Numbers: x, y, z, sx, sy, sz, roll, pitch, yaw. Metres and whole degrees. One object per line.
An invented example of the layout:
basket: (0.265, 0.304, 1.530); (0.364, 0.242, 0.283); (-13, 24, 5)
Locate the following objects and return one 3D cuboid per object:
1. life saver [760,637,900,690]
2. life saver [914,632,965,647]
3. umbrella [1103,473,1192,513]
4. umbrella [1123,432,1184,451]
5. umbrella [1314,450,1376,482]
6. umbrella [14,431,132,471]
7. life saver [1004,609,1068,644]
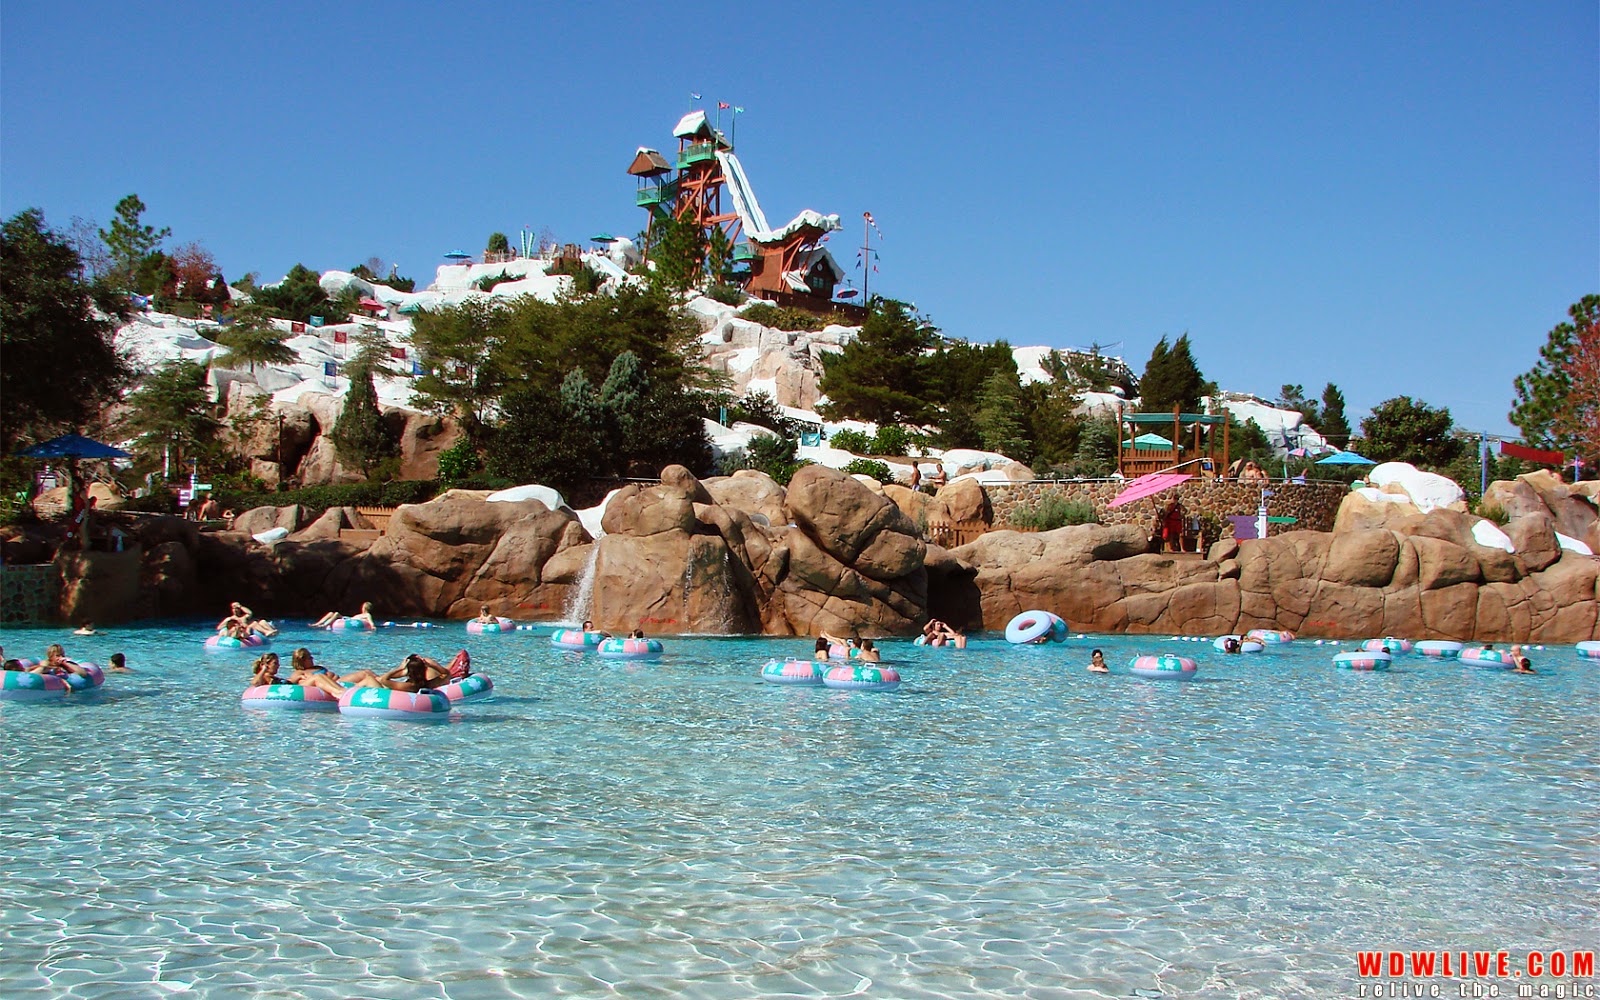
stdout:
life saver: (0.698, 3.190, 25.452); (2.527, 0.579, 2.108); (-7, 12, -44)
life saver: (3.291, 3.256, 30.941); (0.500, 0.253, 0.610); (2, -1, 33)
umbrella: (10.556, -0.237, 40.947); (2.271, 1.060, 1.644); (-1, 9, -14)
umbrella: (12.575, -2.058, 47.886); (1.415, 0.448, 1.373); (0, -2, 41)
umbrella: (20.117, -1.249, 49.641); (2.136, 0.739, 2.039); (0, 3, 14)
umbrella: (-16.566, -1.127, 30.790); (1.878, 0.711, 2.105); (-2, 9, -15)
life saver: (5.436, 3.059, 31.647); (0.957, 0.299, 0.915); (-4, 5, -20)
